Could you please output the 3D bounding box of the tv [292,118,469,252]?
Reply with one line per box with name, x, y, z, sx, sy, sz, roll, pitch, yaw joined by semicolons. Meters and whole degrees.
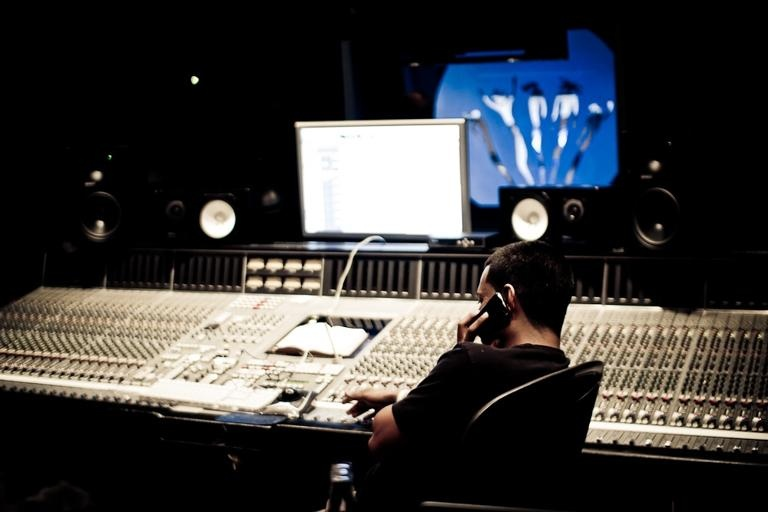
tv;0.016;-0.444;3.992;0.847;0.572;0.084;0;12;4
